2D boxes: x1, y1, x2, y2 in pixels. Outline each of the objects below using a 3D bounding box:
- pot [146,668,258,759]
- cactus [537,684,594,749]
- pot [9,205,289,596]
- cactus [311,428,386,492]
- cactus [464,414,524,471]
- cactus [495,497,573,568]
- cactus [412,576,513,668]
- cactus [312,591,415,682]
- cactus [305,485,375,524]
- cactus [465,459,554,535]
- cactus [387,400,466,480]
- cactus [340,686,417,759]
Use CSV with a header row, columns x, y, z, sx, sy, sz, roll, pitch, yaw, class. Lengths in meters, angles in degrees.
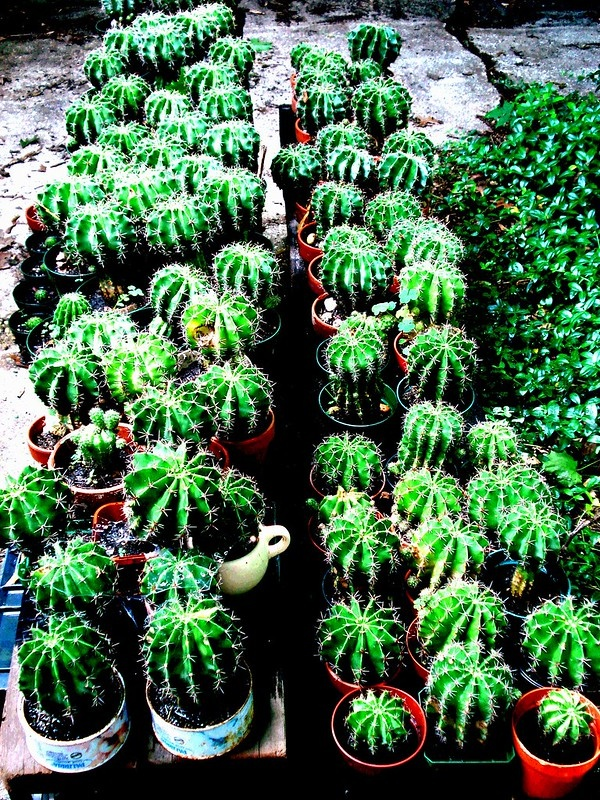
x,y,z,sx,sy,sz,roll,pitch,yaw,class
-0.297,0.865,2.009,0.284,0.105,0.277,5,9,-1,pot
0.755,0.909,2.051,0.145,0.163,0.116,0,31,7,cactus
-0.475,0.045,2.537,0.998,0.689,1.241,-3,43,-6,pot
0.175,0.256,2.778,0.258,0.240,0.238,-4,52,-2,cactus
0.704,0.169,2.683,0.193,0.188,0.179,8,55,15,cactus
0.749,0.430,2.329,0.210,0.176,0.189,0,30,6,cactus
0.479,0.637,2.136,0.186,0.177,0.196,-11,66,21,cactus
0.163,0.741,2.298,0.296,0.279,0.279,-12,48,-11,cactus
0.143,0.354,2.448,0.172,0.058,0.135,-15,9,27,cactus
0.695,0.323,2.461,0.257,0.149,0.237,-13,31,-12,cactus
0.444,0.161,2.671,0.185,0.257,0.173,10,6,-32,cactus
0.239,0.897,2.107,0.150,0.154,0.062,53,38,10,cactus
